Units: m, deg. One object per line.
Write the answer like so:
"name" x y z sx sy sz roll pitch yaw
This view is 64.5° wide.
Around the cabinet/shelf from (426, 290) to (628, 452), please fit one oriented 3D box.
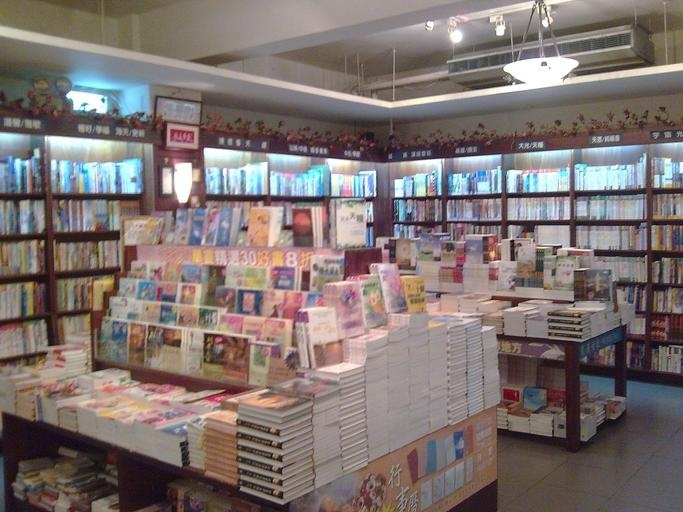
"cabinet/shelf" 2.396 1.131 6.167 2.014 1.304 1.572 1 3 40
